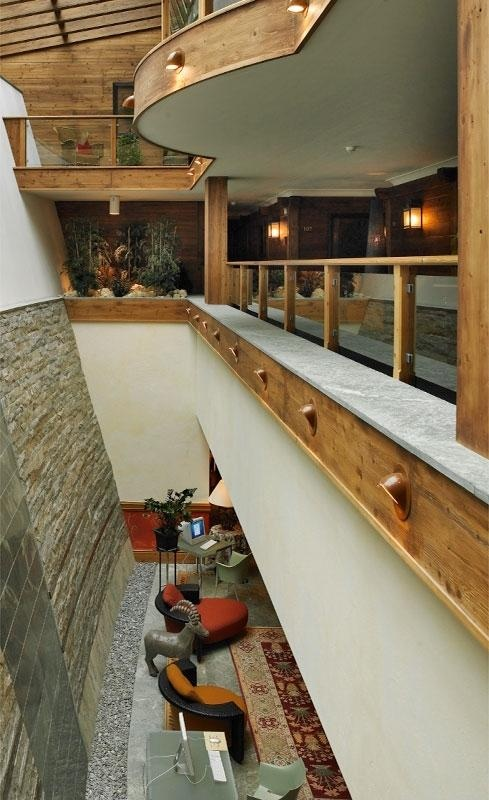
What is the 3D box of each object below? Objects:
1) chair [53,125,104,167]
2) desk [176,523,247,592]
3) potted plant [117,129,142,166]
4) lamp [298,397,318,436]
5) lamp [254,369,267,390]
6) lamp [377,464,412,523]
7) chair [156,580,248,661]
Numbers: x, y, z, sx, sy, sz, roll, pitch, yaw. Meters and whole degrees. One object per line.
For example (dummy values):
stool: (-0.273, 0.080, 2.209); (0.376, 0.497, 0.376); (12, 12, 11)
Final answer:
chair: (-3.196, -5.155, 10.018); (1.036, 0.820, 0.626); (-2, 18, -7)
desk: (-0.634, 3.024, 9.680); (1.342, 1.101, 1.417); (-8, 13, -36)
potted plant: (-2.253, -5.006, 9.717); (0.488, 0.719, 0.366); (-4, 1, 9)
lamp: (0.279, 0.066, 2.144); (0.047, 0.167, 0.062); (2, 24, 21)
lamp: (0.117, -0.161, 3.323); (0.077, 0.133, 0.136); (-12, 57, 6)
lamp: (0.354, 0.224, 1.151); (0.028, 0.096, 0.095); (-3, 44, -14)
chair: (-0.682, 3.463, 8.026); (1.324, 0.889, 1.217); (-5, 19, -5)
